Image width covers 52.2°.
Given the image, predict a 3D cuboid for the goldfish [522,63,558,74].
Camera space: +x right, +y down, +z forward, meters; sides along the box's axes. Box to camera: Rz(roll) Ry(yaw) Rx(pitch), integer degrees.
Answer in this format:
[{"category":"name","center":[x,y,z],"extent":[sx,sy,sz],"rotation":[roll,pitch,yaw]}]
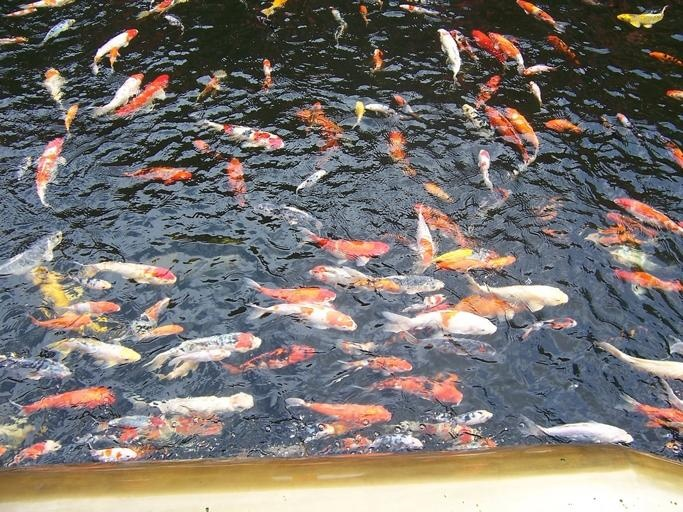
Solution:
[{"category":"goldfish","center":[2.299,-2.245,8.432],"extent":[0.578,0.105,0.148],"rotation":[-3,56,-6]}]

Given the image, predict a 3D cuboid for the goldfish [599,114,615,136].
[{"category":"goldfish","center":[2.997,-1.481,7.951],"extent":[0.179,0.072,0.275],"rotation":[-18,59,1]}]

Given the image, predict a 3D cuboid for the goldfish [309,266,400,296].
[{"category":"goldfish","center":[0.309,0.235,6.907],"extent":[1.229,0.388,0.192],"rotation":[6,82,6]}]

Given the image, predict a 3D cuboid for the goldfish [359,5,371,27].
[{"category":"goldfish","center":[0.295,-3.122,9.060],"extent":[0.138,0.091,0.316],"rotation":[-21,54,-5]}]

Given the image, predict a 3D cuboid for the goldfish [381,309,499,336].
[{"category":"goldfish","center":[0.930,0.632,6.519],"extent":[1.018,0.245,0.158],"rotation":[5,43,1]}]

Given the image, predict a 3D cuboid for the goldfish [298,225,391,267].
[{"category":"goldfish","center":[0.000,-0.085,6.939],"extent":[0.935,0.280,0.227],"rotation":[9,73,5]}]

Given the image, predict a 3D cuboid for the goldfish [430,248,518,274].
[{"category":"goldfish","center":[1.324,0.018,6.899],"extent":[0.866,0.244,0.231],"rotation":[-1,41,-9]}]

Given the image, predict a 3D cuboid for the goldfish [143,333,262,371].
[{"category":"goldfish","center":[-1.177,0.926,6.425],"extent":[1.232,0.262,0.275],"rotation":[-15,85,26]}]

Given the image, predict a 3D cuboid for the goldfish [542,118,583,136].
[{"category":"goldfish","center":[2.502,-1.455,7.919],"extent":[0.563,0.126,0.164],"rotation":[10,45,6]}]

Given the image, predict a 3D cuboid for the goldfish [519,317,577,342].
[{"category":"goldfish","center":[1.952,0.682,6.618],"extent":[0.596,0.116,0.166],"rotation":[-4,42,-4]}]

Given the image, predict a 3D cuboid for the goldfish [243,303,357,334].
[{"category":"goldfish","center":[-0.376,0.544,6.589],"extent":[1.070,0.187,0.198],"rotation":[8,39,6]}]

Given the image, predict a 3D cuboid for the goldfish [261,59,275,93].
[{"category":"goldfish","center":[-0.918,-2.135,8.264],"extent":[0.168,0.168,0.340],"rotation":[2,78,-19]}]

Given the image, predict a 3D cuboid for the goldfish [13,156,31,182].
[{"category":"goldfish","center":[-3.355,-0.926,7.385],"extent":[0.109,0.081,0.275],"rotation":[30,52,1]}]

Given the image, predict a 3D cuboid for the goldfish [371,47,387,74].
[{"category":"goldfish","center":[0.515,-2.366,8.519],"extent":[0.158,0.215,0.305],"rotation":[20,68,-19]}]

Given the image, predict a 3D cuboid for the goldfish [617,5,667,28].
[{"category":"goldfish","center":[4.016,-3.103,9.159],"extent":[0.752,0.179,0.360],"rotation":[-9,38,-20]}]

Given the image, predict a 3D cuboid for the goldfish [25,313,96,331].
[{"category":"goldfish","center":[-2.595,0.613,6.502],"extent":[0.535,0.108,0.163],"rotation":[-2,38,-10]}]

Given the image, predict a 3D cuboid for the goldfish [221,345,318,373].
[{"category":"goldfish","center":[-0.743,0.949,6.516],"extent":[1.163,0.331,0.179],"rotation":[-5,77,-5]}]

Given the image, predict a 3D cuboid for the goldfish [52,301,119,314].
[{"category":"goldfish","center":[-2.410,0.492,6.560],"extent":[0.467,0.138,0.050],"rotation":[0,74,-6]}]

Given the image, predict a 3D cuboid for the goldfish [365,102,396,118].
[{"category":"goldfish","center":[0.463,-1.663,7.987],"extent":[0.364,0.110,0.150],"rotation":[17,39,17]}]

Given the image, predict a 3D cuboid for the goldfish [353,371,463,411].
[{"category":"goldfish","center":[0.670,1.198,6.273],"extent":[0.825,0.138,0.294],"rotation":[2,35,-5]}]

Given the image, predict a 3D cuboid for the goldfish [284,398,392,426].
[{"category":"goldfish","center":[-0.032,1.393,6.174],"extent":[0.726,0.227,0.079],"rotation":[4,95,2]}]

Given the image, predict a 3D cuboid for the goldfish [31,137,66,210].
[{"category":"goldfish","center":[-3.026,-0.898,7.366],"extent":[0.349,0.349,0.638],"rotation":[9,82,-2]}]

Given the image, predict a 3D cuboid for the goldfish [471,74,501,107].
[{"category":"goldfish","center":[1.732,-1.952,8.232],"extent":[0.310,0.177,0.573],"rotation":[1,37,35]}]

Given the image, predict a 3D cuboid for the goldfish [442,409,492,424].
[{"category":"goldfish","center":[1.029,1.438,6.154],"extent":[0.628,0.164,0.107],"rotation":[0,48,2]}]

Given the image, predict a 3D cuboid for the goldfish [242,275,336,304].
[{"category":"goldfish","center":[-0.490,0.338,6.733],"extent":[1.004,0.309,0.100],"rotation":[2,92,6]}]

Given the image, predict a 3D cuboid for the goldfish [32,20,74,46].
[{"category":"goldfish","center":[-3.544,-2.732,8.606],"extent":[0.714,0.078,0.225],"rotation":[-26,58,-17]}]

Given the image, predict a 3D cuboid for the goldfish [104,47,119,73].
[{"category":"goldfish","center":[-2.719,-2.345,8.366],"extent":[0.220,0.123,0.254],"rotation":[-5,80,3]}]

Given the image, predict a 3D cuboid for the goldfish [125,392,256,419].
[{"category":"goldfish","center":[-1.324,1.315,6.166],"extent":[1.087,0.138,0.197],"rotation":[1,37,-5]}]

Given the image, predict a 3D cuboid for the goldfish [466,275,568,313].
[{"category":"goldfish","center":[1.573,0.358,6.842],"extent":[1.323,0.325,0.241],"rotation":[4,35,1]}]

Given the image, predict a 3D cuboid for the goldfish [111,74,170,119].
[{"category":"goldfish","center":[-2.327,-1.891,8.076],"extent":[0.363,0.136,0.840],"rotation":[18,45,43]}]

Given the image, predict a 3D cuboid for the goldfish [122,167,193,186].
[{"category":"goldfish","center":[-1.931,-0.842,7.369],"extent":[0.675,0.137,0.197],"rotation":[-1,38,-8]}]
